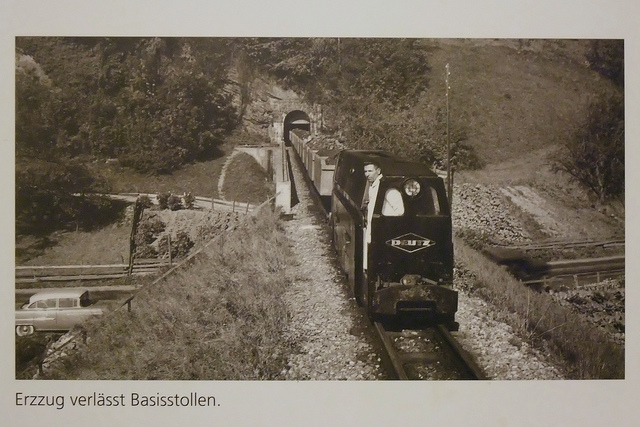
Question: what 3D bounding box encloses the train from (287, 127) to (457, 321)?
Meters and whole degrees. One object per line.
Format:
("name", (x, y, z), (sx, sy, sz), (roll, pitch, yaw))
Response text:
("train", (0.785, -0.357, 11.788), (1.241, 1.699, 5.697), (-2, 14, -7))
